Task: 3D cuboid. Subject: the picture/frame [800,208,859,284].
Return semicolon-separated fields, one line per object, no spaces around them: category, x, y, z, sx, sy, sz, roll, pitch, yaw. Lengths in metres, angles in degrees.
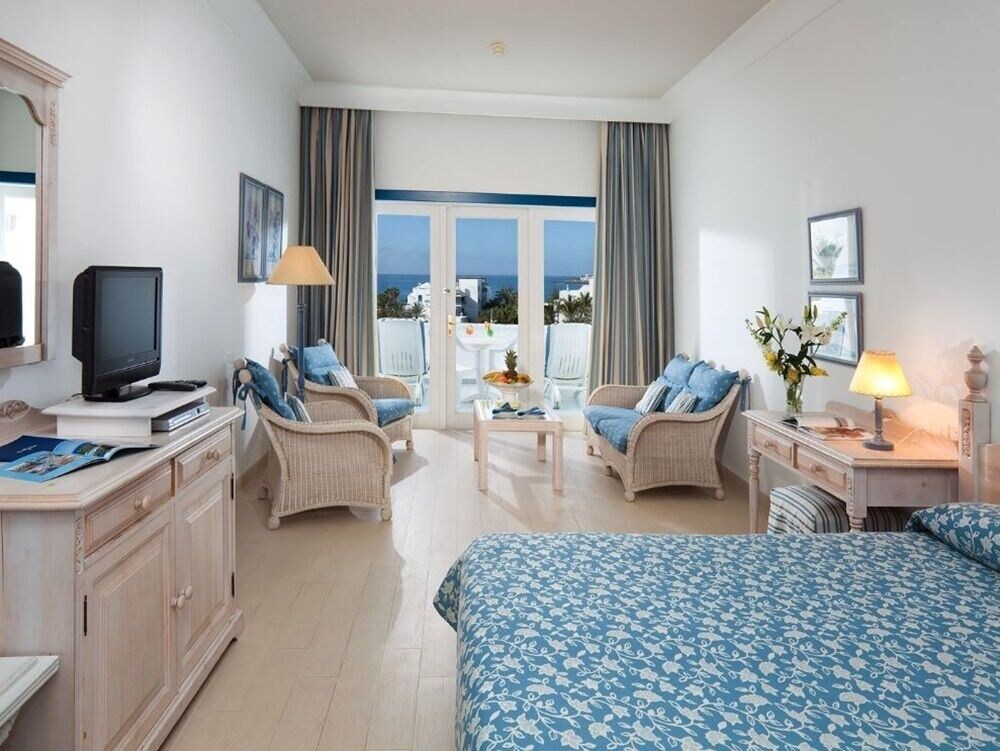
picture/frame;1.913;-0.737;3.892;0.513;0.427;0.023;-9;7;-28

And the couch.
couch;1.204;0.359;5.411;0.834;0.982;1.501;2;6;-2

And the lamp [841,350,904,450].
lamp;1.791;0.124;3.192;0.237;0.470;0.237;0;7;30

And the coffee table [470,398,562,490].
coffee table;0.109;0.425;4.969;0.502;0.434;0.897;1;2;-3

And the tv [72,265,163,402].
tv;-1.597;-0.176;2.747;0.158;0.539;0.512;4;7;-2

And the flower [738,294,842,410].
flower;1.822;-0.142;4.197;0.527;0.710;0.577;1;1;24
